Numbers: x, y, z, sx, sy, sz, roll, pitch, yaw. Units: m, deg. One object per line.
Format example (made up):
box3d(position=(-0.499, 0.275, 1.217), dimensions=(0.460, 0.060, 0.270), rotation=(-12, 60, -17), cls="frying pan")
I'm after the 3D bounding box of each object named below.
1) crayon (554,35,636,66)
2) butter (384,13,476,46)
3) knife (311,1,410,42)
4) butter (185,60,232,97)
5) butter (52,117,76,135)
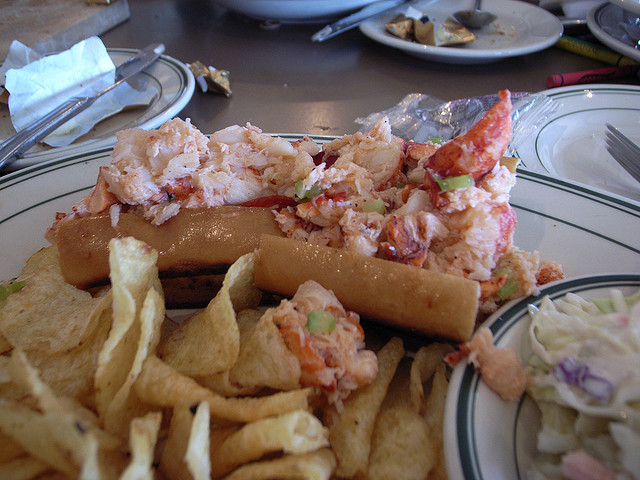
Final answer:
box3d(position=(1.150, -0.786, 2.207), dimensions=(0.042, 0.058, 0.337), rotation=(-7, 37, -38), cls="crayon")
box3d(position=(0.478, -0.912, 2.309), dimensions=(0.384, 0.056, 0.219), rotation=(27, 56, 21), cls="butter")
box3d(position=(0.198, -0.992, 2.397), dimensions=(0.561, 0.069, 0.027), rotation=(-39, 23, -33), cls="knife")
box3d(position=(-0.440, -0.633, 2.082), dimensions=(0.230, 0.084, 0.141), rotation=(33, 46, 21), cls="butter")
box3d(position=(-0.878, -0.389, 1.817), dimensions=(0.059, 0.023, 0.056), rotation=(19, 62, 43), cls="butter")
